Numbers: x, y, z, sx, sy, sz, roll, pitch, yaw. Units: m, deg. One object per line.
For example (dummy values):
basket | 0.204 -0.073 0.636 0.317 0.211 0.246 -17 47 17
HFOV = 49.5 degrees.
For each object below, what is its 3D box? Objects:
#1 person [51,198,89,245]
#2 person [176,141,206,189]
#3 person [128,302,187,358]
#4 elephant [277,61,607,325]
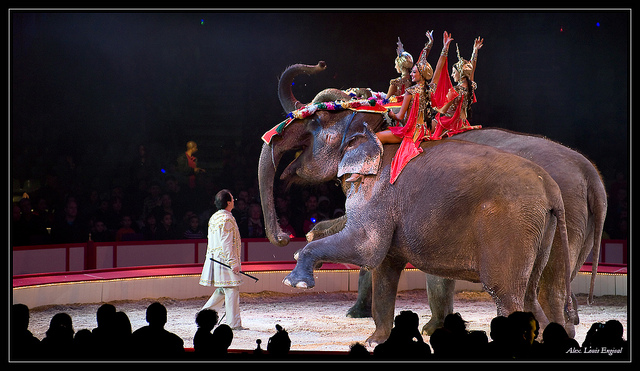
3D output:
person | -4.211 0.582 11.633 0.578 0.728 0.323 0 -2 -25
person | -2.309 -0.369 12.404 0.518 0.817 0.133 0 -2 -11
person | -1.847 1.653 7.871 0.771 0.464 0.351 3 8 1
elephant | 1.292 0.728 8.968 2.025 2.762 4.406 18 -13 -42
